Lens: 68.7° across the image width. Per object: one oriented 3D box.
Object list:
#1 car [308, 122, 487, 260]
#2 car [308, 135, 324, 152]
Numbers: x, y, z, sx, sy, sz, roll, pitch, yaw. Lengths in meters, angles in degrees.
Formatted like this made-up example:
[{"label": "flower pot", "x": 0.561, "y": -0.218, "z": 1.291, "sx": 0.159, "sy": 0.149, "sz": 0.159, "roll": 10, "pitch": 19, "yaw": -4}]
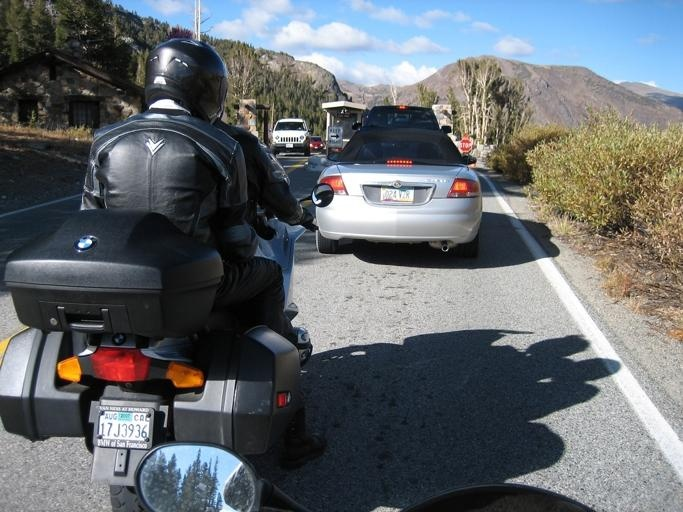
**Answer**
[{"label": "car", "x": 0.873, "y": -0.959, "z": 7.820, "sx": 2.507, "sy": 1.976, "sz": 2.107, "roll": 0, "pitch": 14, "yaw": -2}, {"label": "car", "x": -2.284, "y": -10.408, "z": 46.483, "sx": 1.083, "sy": 0.858, "sz": 2.473, "roll": 0, "pitch": 20, "yaw": -1}]
